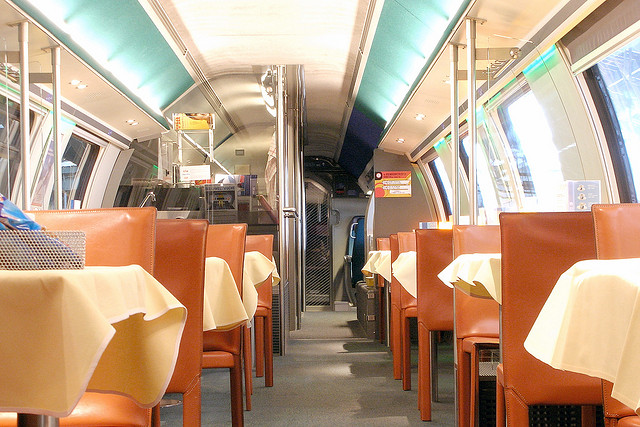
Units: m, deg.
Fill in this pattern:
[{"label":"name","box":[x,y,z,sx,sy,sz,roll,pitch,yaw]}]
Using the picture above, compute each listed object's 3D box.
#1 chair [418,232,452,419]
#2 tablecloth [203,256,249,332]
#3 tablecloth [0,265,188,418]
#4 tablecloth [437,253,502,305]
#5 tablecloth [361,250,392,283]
[{"label":"chair","box":[0.780,0.726,3.138,0.236,1.200,0.139,-1,-4,10]},{"label":"tablecloth","box":[-0.520,0.427,2.554,0.387,0.348,0.351,-2,-7,-4]},{"label":"tablecloth","box":[-0.711,0.366,1.485,0.532,0.280,0.530,1,-2,4]},{"label":"tablecloth","box":[0.790,0.309,2.334,0.251,0.212,0.572,0,-4,0]},{"label":"tablecloth","box":[0.722,0.573,5.456,0.270,0.286,0.975,0,-1,-6]}]
